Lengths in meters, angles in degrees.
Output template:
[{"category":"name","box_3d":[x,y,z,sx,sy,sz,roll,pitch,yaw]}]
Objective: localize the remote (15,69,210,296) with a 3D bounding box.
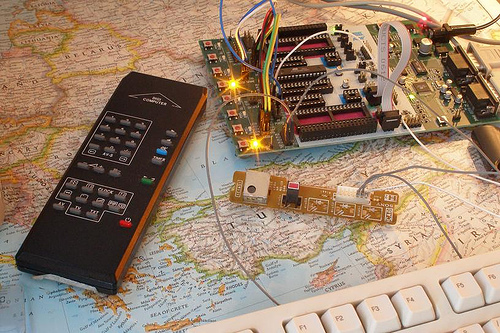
[{"category":"remote","box_3d":[-0.396,-0.002,1.613,0.338,0.187,0.802,19,58,8]}]
